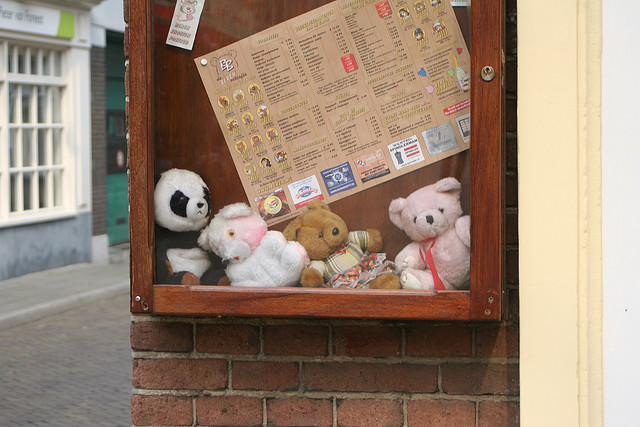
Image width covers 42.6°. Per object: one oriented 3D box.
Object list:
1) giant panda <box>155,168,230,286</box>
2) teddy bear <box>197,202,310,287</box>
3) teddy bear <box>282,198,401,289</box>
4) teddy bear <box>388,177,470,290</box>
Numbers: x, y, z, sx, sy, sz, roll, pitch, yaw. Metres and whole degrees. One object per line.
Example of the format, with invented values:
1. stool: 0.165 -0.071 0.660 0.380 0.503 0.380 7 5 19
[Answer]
1. giant panda: -0.618 0.048 3.811 0.295 0.561 0.383 3 12 22
2. teddy bear: -0.311 0.178 3.764 0.352 0.446 0.207 -54 -6 -9
3. teddy bear: 0.109 0.160 3.796 0.384 0.452 0.396 -49 19 -17
4. teddy bear: 0.528 0.120 3.740 0.404 0.493 0.312 -13 6 21
